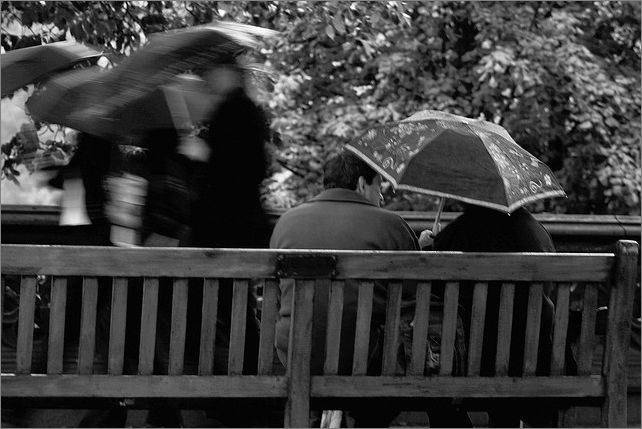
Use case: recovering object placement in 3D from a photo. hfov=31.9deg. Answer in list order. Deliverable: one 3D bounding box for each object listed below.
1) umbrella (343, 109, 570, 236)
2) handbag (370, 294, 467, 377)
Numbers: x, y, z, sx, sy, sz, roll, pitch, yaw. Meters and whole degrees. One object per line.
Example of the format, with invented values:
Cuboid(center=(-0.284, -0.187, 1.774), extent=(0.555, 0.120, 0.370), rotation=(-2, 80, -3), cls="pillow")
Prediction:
Cuboid(center=(0.919, -0.330, 7.249), extent=(0.889, 0.514, 0.862), rotation=(11, 24, -37), cls="umbrella")
Cuboid(center=(0.623, 0.775, 7.146), extent=(0.557, 0.489, 0.134), rotation=(0, -8, 0), cls="handbag")
